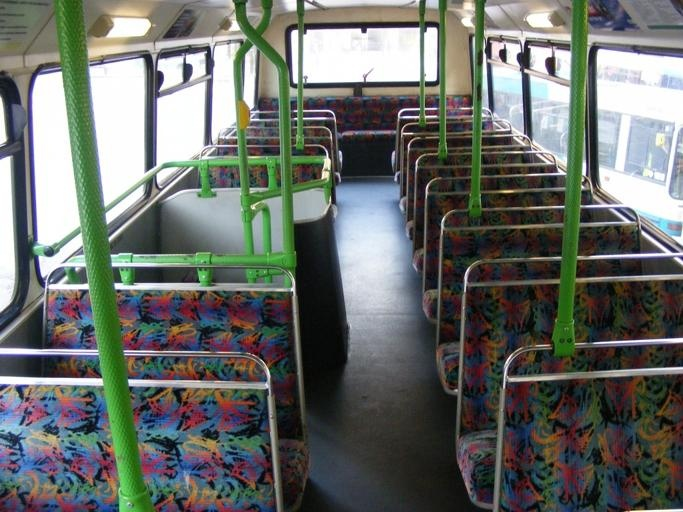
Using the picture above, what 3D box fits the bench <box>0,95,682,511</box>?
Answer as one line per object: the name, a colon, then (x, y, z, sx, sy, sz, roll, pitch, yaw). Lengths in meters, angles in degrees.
bench: (0.034, 0.249, 3.357, 1.879, 1.066, 2.791, -2, 21, 2)
